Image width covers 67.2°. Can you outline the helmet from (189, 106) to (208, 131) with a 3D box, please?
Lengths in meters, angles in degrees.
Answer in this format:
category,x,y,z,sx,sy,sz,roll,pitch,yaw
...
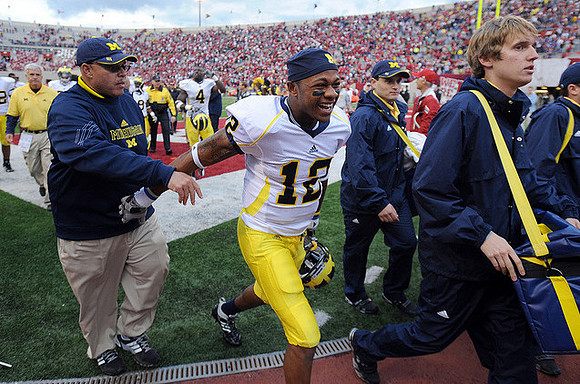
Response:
category,x,y,z,sx,sy,sz,roll,pitch,yaw
helmet,-1.864,-1.471,8.973,0.398,0.311,0.531,-10,52,-35

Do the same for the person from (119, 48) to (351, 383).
category,x,y,z,sx,sy,sz,roll,pitch,yaw
person,-0.063,0.224,3.547,1.281,2.616,1.042,21,30,38

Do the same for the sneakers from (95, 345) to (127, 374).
category,x,y,z,sx,sy,sz,roll,pitch,yaw
sneakers,-1.590,1.470,3.874,0.170,0.172,0.401,-7,11,-39

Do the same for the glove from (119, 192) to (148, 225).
category,x,y,z,sx,sy,sz,roll,pitch,yaw
glove,-1.292,0.124,3.557,0.139,0.178,0.187,35,56,21

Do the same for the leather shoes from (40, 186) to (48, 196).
category,x,y,z,sx,sy,sz,roll,pitch,yaw
leather shoes,-3.999,-0.021,7.046,0.145,0.135,0.131,22,18,33

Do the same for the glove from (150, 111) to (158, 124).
category,x,y,z,sx,sy,sz,roll,pitch,yaw
glove,-3.283,-1.797,10.396,0.076,0.174,0.210,-37,62,-9

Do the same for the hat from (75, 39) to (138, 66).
category,x,y,z,sx,sy,sz,roll,pitch,yaw
hat,-1.564,-1.191,3.711,0.524,0.210,0.371,3,18,7

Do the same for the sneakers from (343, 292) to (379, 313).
category,x,y,z,sx,sy,sz,roll,pitch,yaw
sneakers,0.773,1.154,4.631,0.335,0.142,0.161,14,16,27

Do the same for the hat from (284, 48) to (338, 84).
category,x,y,z,sx,sy,sz,roll,pitch,yaw
hat,0.192,-1.000,3.455,0.479,0.215,0.431,-3,9,14

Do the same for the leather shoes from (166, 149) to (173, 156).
category,x,y,z,sx,sy,sz,roll,pitch,yaw
leather shoes,-2.971,-0.977,10.787,0.119,0.099,0.168,35,21,4

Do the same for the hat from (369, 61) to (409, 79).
category,x,y,z,sx,sy,sz,roll,pitch,yaw
hat,1.071,-1.266,4.650,0.254,0.165,0.328,-10,16,-28

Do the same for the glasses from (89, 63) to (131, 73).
category,x,y,z,sx,sy,sz,roll,pitch,yaw
glasses,-1.518,-1.029,3.613,0.183,0.055,0.125,1,6,15

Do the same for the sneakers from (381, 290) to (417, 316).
category,x,y,z,sx,sy,sz,roll,pitch,yaw
sneakers,1.205,1.154,4.675,0.153,0.168,0.413,-18,38,-34
